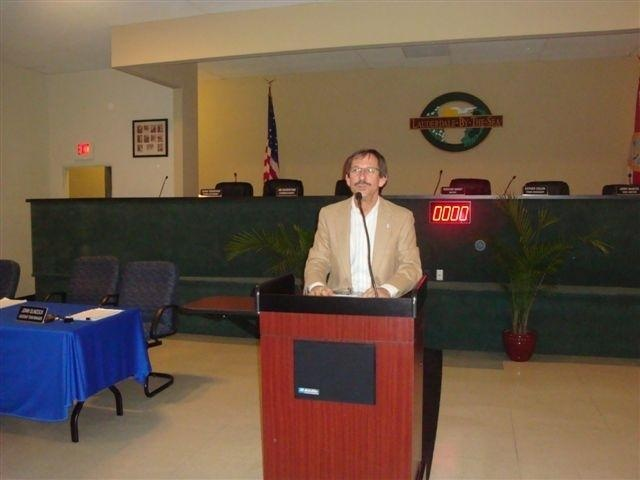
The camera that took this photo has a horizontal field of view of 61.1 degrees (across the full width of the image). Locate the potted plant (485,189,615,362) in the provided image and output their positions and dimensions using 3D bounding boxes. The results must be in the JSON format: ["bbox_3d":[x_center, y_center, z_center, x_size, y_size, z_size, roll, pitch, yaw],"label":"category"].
[{"bbox_3d":[2.396,0.380,5.817,0.951,1.671,0.681,-2,13,-6],"label":"potted plant"}]

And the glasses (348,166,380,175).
[{"bbox_3d":[0.285,-0.448,3.486,0.177,0.042,0.040,0,13,4],"label":"glasses"}]

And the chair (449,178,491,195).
[{"bbox_3d":[1.850,-0.655,6.640,0.458,0.178,0.339,2,13,12],"label":"chair"}]

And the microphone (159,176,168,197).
[{"bbox_3d":[-2.462,-0.856,8.569,0.188,0.320,0.388,-5,14,-16],"label":"microphone"}]

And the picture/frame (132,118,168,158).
[{"bbox_3d":[-2.707,-1.663,8.747,0.629,0.653,0.024,1,0,8],"label":"picture/frame"}]

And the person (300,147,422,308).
[{"bbox_3d":[0.278,-0.106,3.512,0.777,0.937,0.576,1,13,8],"label":"person"}]
